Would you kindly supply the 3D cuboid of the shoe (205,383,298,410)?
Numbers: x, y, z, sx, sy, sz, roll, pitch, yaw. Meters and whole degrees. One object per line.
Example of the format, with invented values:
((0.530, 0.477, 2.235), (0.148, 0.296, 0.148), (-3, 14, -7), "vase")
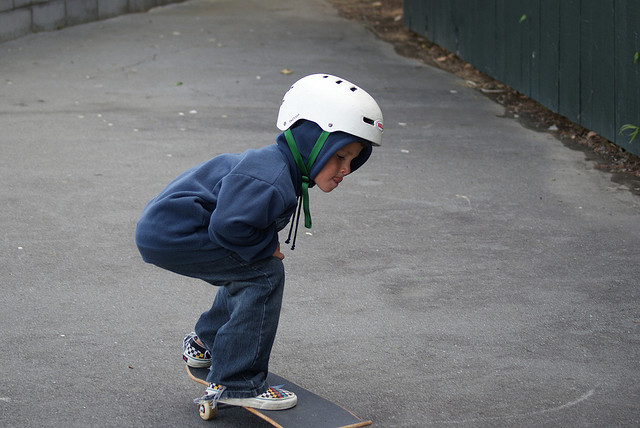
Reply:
((-0.484, 1.317, 5.806), (0.654, 0.225, 0.230), (0, 1, 4), "shoe")

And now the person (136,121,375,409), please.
((-0.658, 0.492, 5.743), (1.097, 1.900, 0.579), (-1, 15, 2), "person")

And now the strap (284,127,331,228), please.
((-0.092, -0.253, 5.764), (0.208, 0.728, 0.265), (-13, 19, -38), "strap")
